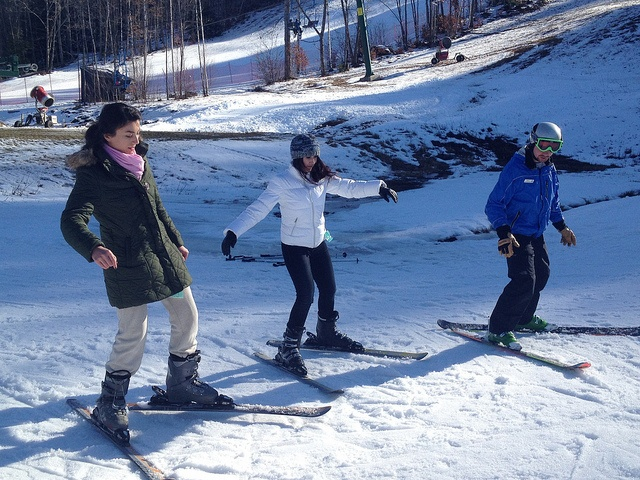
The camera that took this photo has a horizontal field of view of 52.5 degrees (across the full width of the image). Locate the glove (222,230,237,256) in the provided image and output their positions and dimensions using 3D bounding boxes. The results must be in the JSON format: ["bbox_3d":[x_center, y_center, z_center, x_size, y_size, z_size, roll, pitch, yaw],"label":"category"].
[{"bbox_3d":[-0.906,0.050,6.451,0.152,0.247,0.072,-2,-31,14],"label":"glove"}]

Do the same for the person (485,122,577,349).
[{"bbox_3d":[2.304,-0.059,7.305,1.013,2.470,0.522,-13,16,-31],"label":"person"}]

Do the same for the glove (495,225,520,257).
[{"bbox_3d":[2.041,0.024,7.073,0.243,0.350,0.255,-1,14,15],"label":"glove"}]

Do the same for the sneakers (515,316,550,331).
[{"bbox_3d":[2.480,0.993,7.778,0.466,0.183,0.149,-4,11,4],"label":"sneakers"}]

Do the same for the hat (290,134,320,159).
[{"bbox_3d":[-0.167,-0.994,6.885,0.280,0.206,0.264,-10,17,-30],"label":"hat"}]

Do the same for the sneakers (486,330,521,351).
[{"bbox_3d":[2.085,1.126,7.368,0.395,0.193,0.150,16,3,29],"label":"sneakers"}]

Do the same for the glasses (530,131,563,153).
[{"bbox_3d":[2.430,-1.059,7.015,0.241,0.121,0.290,7,3,5],"label":"glasses"}]
